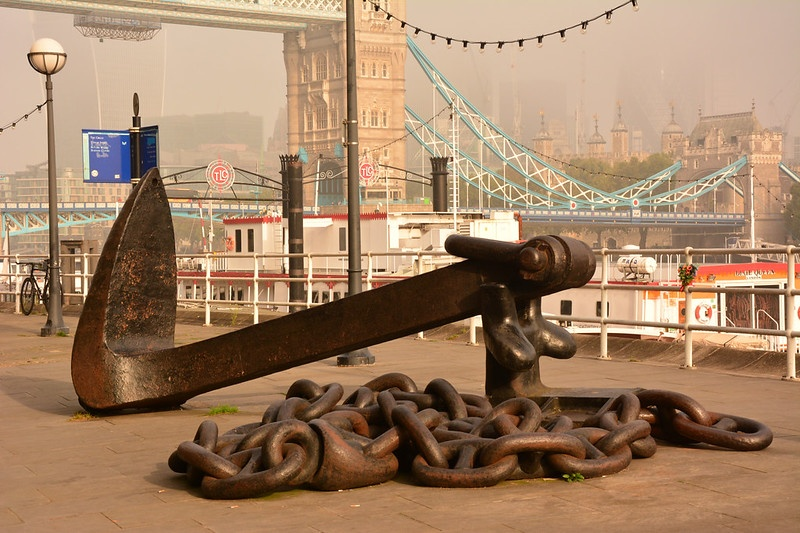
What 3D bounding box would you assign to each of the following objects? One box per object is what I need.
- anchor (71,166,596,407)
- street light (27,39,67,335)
[{"bbox_3d":[-0.965,0.278,9.796,4.073,2.106,0.659,2,10,23],"label":"anchor"},{"bbox_3d":[-5.364,-1.386,18.071,0.767,4.681,0.717,7,-20,-41],"label":"street light"}]
